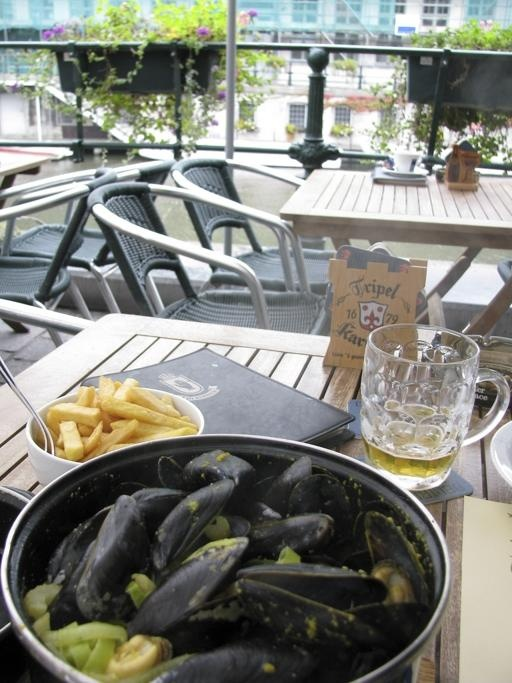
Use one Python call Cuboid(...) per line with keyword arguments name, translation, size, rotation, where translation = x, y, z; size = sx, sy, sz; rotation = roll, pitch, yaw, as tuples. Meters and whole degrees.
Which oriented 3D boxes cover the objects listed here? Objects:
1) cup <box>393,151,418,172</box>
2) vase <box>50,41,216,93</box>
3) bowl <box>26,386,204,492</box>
Cuboid(name="cup", translation=(0.686, -0.825, 2.375), size=(0.091, 0.071, 0.104), rotation=(2, 25, 8))
Cuboid(name="vase", translation=(-0.797, -1.778, 3.402), size=(1.078, 0.286, 0.217), rotation=(4, 20, 2))
Cuboid(name="bowl", translation=(-0.137, 0.076, 0.455), size=(0.125, 0.055, 0.126), rotation=(2, 23, -1))
